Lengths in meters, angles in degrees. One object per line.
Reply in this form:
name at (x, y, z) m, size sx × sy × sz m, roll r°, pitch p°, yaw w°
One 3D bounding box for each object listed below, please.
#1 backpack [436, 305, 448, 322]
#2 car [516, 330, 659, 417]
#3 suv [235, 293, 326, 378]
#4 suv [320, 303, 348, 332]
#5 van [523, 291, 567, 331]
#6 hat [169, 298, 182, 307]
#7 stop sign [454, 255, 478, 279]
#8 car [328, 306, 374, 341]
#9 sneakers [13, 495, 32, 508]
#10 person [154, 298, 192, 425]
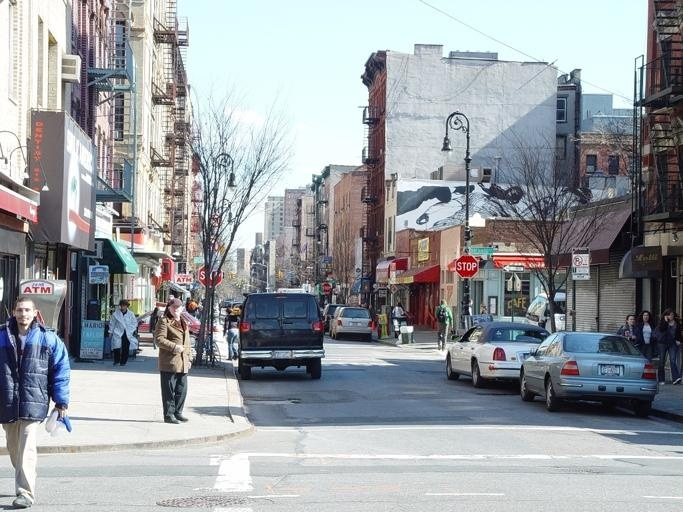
backpack at (3.972, 2.313, 41.290) m, size 0.394 × 0.742 × 0.603 m, roll 1°, pitch -5°, yaw 4°
car at (5.123, 2.404, 21.630) m, size 1.269 × 1.018 × 2.942 m, roll 2°, pitch -2°, yaw -4°
suv at (-1.631, 2.177, 28.040) m, size 2.081 × 2.214 × 4.012 m, roll 0°, pitch -1°, yaw -4°
suv at (-0.684, 3.655, 60.695) m, size 1.027 × 1.209 × 2.050 m, roll 1°, pitch 1°, yaw -1°
van at (8.539, 2.259, 43.157) m, size 1.344 × 1.446 × 2.447 m, roll 1°, pitch -8°, yaw 0°
hat at (-2.956, 0.851, 18.803) m, size 0.142 × 0.197 × 0.184 m, roll 5°, pitch -7°, yaw -28°
stop sign at (4.460, 0.376, 37.395) m, size 0.716 × 0.776 × 0.864 m, roll 0°, pitch -5°, yaw 11°
car at (0.530, 3.416, 52.926) m, size 1.990 × 1.717 × 2.286 m, roll 1°, pitch -5°, yaw 3°
sneakers at (-3.897, 3.017, 12.859) m, size 0.229 × 0.172 × 0.163 m, roll 3°, pitch -5°, yaw -19°
person at (-3.062, 1.899, 19.014) m, size 0.614 × 2.257 × 0.869 m, roll 2°, pitch -4°, yaw -10°
